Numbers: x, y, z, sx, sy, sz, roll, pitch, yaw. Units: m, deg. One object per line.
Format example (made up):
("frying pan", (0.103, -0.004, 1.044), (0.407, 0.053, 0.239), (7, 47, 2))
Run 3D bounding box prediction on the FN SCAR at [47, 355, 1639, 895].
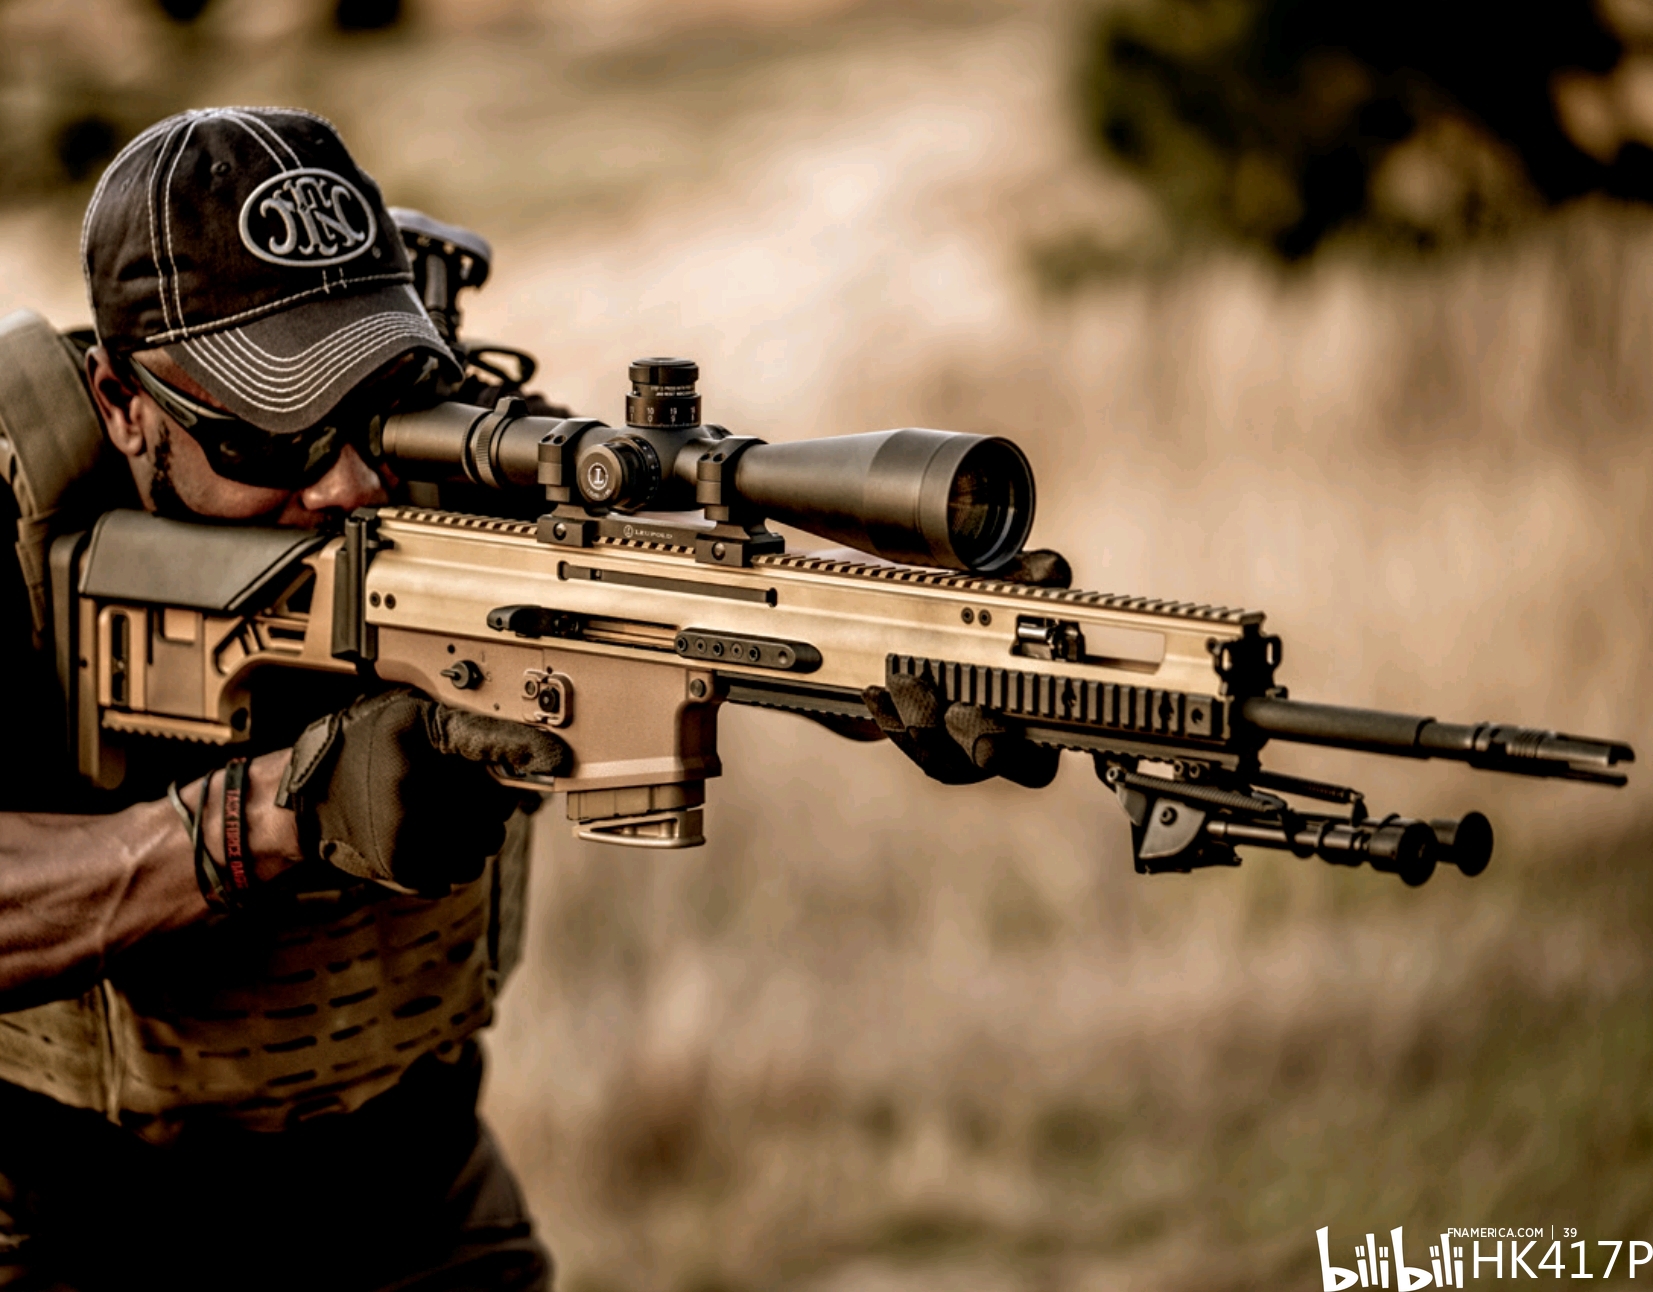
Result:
("FN SCAR", (-0.171, -0.065, 3.107), (2.517, 0.761, 0.219), (0, 1, 24))
